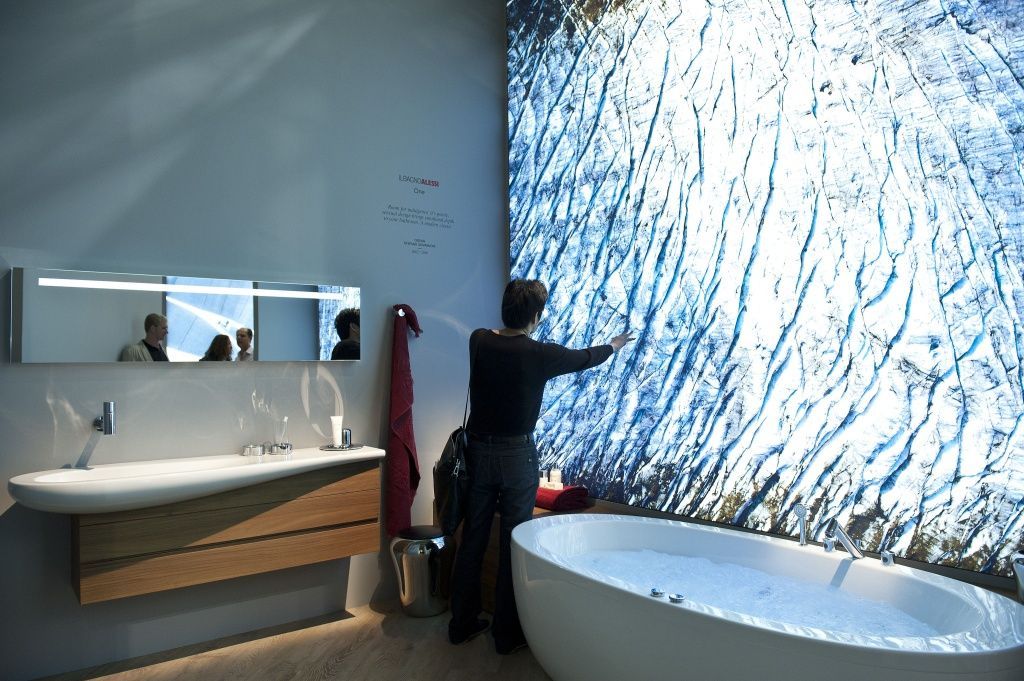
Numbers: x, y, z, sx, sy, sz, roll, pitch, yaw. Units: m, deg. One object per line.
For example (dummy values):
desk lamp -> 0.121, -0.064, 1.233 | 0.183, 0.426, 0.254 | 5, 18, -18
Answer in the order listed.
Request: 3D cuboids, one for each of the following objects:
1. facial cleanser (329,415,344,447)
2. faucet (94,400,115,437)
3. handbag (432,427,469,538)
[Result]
facial cleanser -> -1.073, 0.540, 4.135 | 0.081, 0.178, 0.195 | -3, 10, -15
faucet -> -2.168, 0.415, 3.597 | 0.106, 0.192, 0.125 | -6, 11, -30
handbag -> -0.351, 0.841, 3.876 | 0.214, 0.663, 0.656 | 4, -7, -6
